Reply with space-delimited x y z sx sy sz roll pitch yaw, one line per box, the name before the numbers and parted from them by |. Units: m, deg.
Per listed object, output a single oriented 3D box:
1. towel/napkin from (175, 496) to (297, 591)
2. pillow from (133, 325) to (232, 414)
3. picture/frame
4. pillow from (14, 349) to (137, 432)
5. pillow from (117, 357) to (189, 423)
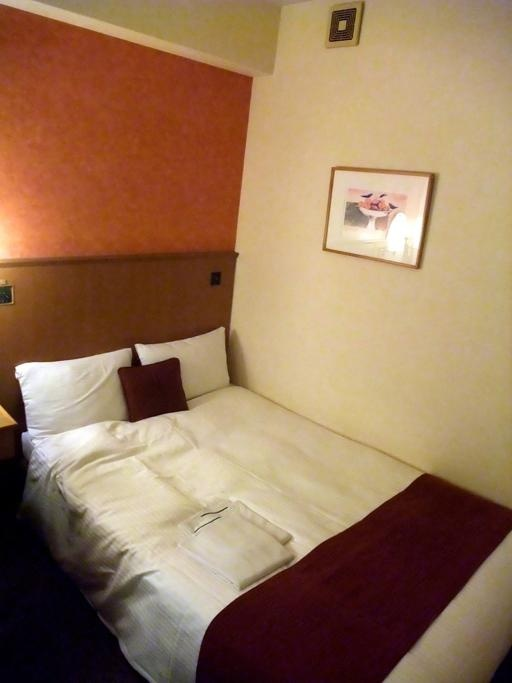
towel/napkin | -0.079 0.769 2.041 0.448 0.060 0.405 20 21 37
pillow | -0.319 0.209 3.519 0.142 0.422 0.697 -3 9 31
picture/frame | 0.682 -0.688 2.817 0.186 0.449 0.610 -18 29 -41
pillow | -0.944 0.282 2.776 0.224 0.401 0.602 -8 2 43
pillow | -0.587 0.257 3.047 0.427 0.126 0.516 -12 33 -12
